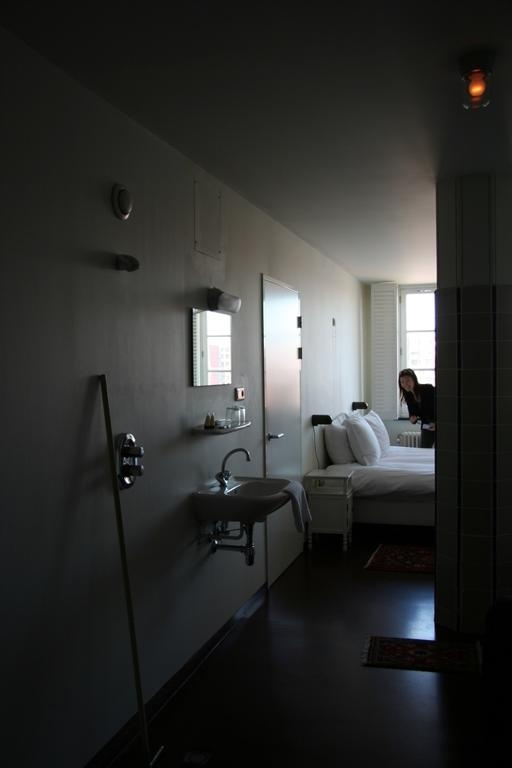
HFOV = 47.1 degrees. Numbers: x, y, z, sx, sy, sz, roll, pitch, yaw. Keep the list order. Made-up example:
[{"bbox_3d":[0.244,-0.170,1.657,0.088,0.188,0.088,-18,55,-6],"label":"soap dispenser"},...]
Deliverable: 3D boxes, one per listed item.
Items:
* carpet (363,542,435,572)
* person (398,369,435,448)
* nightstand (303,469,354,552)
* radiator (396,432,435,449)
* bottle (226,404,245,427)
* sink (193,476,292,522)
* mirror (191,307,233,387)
[{"bbox_3d":[1.103,1.324,4.471,0.477,0.017,0.718,-1,-1,20],"label":"carpet"},{"bbox_3d":[1.705,0.265,6.253,0.337,0.849,0.819,-1,-1,15],"label":"person"},{"bbox_3d":[0.616,1.045,4.980,0.396,0.594,0.504,-1,-1,12],"label":"nightstand"},{"bbox_3d":[2.051,0.743,7.564,0.459,0.143,0.331,-3,-13,6],"label":"radiator"},{"bbox_3d":[-0.111,0.171,3.181,0.061,0.140,0.112,-1,-6,14],"label":"bottle"},{"bbox_3d":[-0.040,0.603,2.998,0.447,0.189,0.513,-1,-1,15],"label":"sink"},{"bbox_3d":[-0.202,-0.191,3.179,0.014,0.383,0.481,-5,3,15],"label":"mirror"}]
